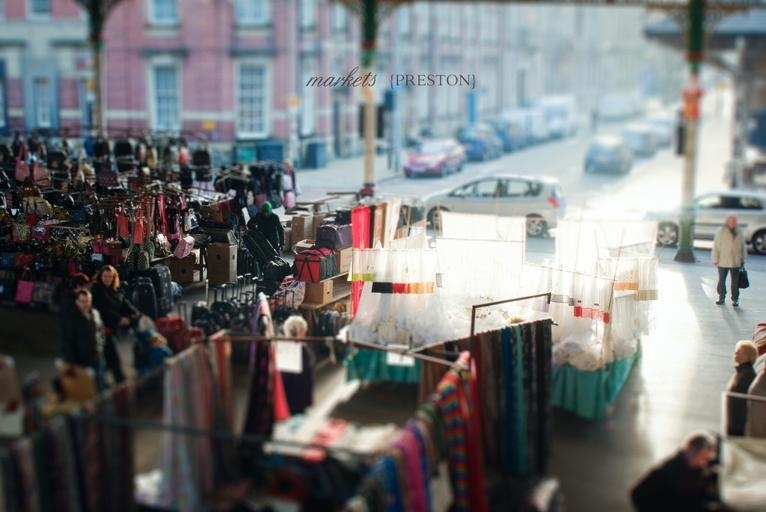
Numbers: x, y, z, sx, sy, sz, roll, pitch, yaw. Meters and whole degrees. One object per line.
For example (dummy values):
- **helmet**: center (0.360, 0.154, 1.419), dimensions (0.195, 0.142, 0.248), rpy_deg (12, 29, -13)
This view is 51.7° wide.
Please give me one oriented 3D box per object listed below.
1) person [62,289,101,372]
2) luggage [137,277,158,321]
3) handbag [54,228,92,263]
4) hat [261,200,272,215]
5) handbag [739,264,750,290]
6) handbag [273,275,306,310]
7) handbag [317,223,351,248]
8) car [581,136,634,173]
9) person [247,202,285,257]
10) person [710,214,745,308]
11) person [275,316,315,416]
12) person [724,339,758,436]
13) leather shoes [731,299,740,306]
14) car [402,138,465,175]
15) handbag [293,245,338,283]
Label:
- **person**: center (-4.350, 1.107, 11.488), dimensions (0.442, 1.287, 0.402), rpy_deg (6, 13, -5)
- **luggage**: center (-4.101, 0.750, 13.933), dimensions (0.329, 0.683, 0.526), rpy_deg (-2, 7, -17)
- **handbag**: center (-5.960, -0.194, 15.251), dimensions (0.662, 0.599, 0.262), rpy_deg (11, -33, -15)
- **hat**: center (-2.396, -1.018, 16.618), dimensions (0.202, 0.293, 0.304), rpy_deg (1, 4, -3)
- **handbag**: center (7.892, 0.452, 17.335), dimensions (0.156, 0.482, 0.457), rpy_deg (-5, 10, 20)
- **handbag**: center (-1.695, 0.677, 14.417), dimensions (0.429, 0.548, 0.781), rpy_deg (2, 8, 17)
- **handbag**: center (-0.940, -0.393, 15.473), dimensions (0.807, 0.446, 0.591), rpy_deg (-3, 8, -23)
- **car**: center (9.489, -4.188, 33.422), dimensions (1.871, 1.507, 1.257), rpy_deg (1, 7, 9)
- **person**: center (-2.395, -0.582, 16.437), dimensions (0.649, 1.055, 0.418), rpy_deg (0, 6, 0)
- **person**: center (7.317, 0.105, 16.843), dimensions (0.836, 1.962, 0.588), rpy_deg (-6, 8, -41)
- **person**: center (-1.271, 1.645, 11.858), dimensions (0.476, 1.634, 0.896), rpy_deg (-1, 7, -7)
- **person**: center (5.131, 1.882, 11.390), dimensions (0.341, 1.250, 0.711), rpy_deg (4, 8, 32)
- **leather shoes**: center (7.587, 0.978, 17.054), dimensions (0.105, 0.137, 0.088), rpy_deg (5, 11, 14)
- **car**: center (2.204, -4.123, 33.271), dimensions (1.358, 1.537, 2.965), rpy_deg (6, 9, 38)
- **handbag**: center (-1.228, 0.056, 15.026), dimensions (0.523, 0.768, 1.012), rpy_deg (2, 5, 20)
